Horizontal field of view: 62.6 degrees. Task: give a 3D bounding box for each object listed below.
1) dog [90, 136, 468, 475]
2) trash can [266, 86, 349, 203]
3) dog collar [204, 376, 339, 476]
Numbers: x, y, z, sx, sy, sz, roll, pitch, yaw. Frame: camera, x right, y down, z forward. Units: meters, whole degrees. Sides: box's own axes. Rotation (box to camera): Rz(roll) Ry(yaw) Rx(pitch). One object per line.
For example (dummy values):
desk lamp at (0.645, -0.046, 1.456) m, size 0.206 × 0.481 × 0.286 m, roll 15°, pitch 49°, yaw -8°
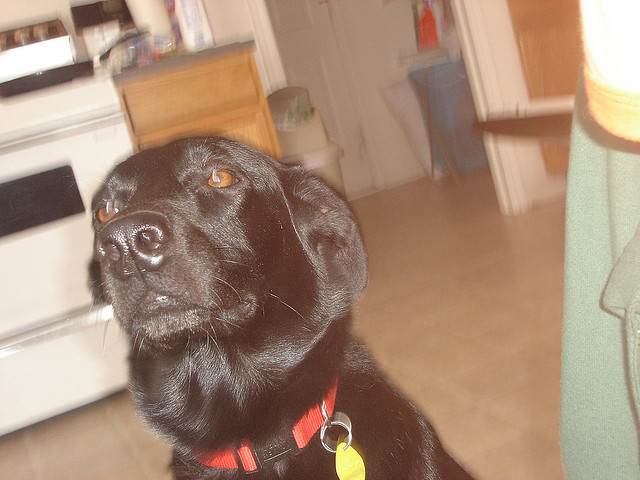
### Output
dog at (-0.073, 0.352, 1.291) m, size 0.416 × 1.183 × 0.532 m, roll -12°, pitch 42°, yaw 33°
trash can at (-0.058, -0.246, 1.287) m, size 0.117 × 0.249 × 0.357 m, roll -19°, pitch 25°, yaw -16°
dog collar at (-0.113, 0.359, 1.073) m, size 0.197 × 0.057 × 0.147 m, roll -43°, pitch -4°, yaw 12°
